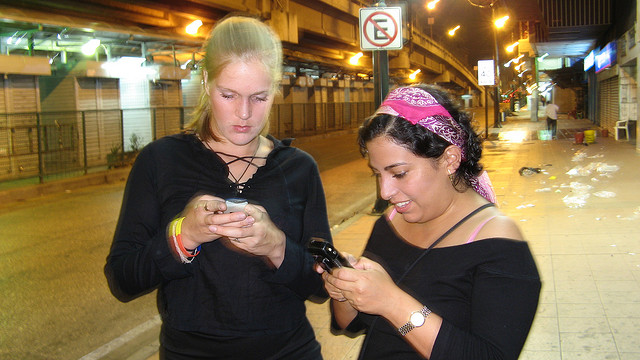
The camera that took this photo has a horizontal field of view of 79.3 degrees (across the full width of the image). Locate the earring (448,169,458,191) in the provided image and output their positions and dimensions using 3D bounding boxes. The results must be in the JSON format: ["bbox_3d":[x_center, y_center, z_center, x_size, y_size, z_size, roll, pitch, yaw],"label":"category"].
[{"bbox_3d":[0.852,-0.005,2.465,0.016,0.140,0.024,-14,14,21],"label":"earring"}]

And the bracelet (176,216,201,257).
[{"bbox_3d":[-0.874,0.370,2.481,0.081,0.189,0.173,0,9,13],"label":"bracelet"}]

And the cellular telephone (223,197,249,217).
[{"bbox_3d":[-0.509,0.167,2.284,0.133,0.096,0.131,-16,19,-42],"label":"cellular telephone"}]

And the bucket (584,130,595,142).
[{"bbox_3d":[14.172,-2.293,20.013,0.594,0.543,0.565,-3,3,0],"label":"bucket"}]

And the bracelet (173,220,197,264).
[{"bbox_3d":[-0.886,0.399,2.548,0.218,0.227,0.089,-2,3,-2],"label":"bracelet"}]

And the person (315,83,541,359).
[{"bbox_3d":[0.744,0.207,2.375,1.134,1.544,0.918,5,16,29],"label":"person"}]

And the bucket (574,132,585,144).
[{"bbox_3d":[13.564,-2.169,20.089,0.345,0.487,0.613,8,18,37],"label":"bucket"}]

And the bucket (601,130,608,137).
[{"bbox_3d":[16.435,-2.695,22.138,0.298,0.414,0.551,7,17,34],"label":"bucket"}]
